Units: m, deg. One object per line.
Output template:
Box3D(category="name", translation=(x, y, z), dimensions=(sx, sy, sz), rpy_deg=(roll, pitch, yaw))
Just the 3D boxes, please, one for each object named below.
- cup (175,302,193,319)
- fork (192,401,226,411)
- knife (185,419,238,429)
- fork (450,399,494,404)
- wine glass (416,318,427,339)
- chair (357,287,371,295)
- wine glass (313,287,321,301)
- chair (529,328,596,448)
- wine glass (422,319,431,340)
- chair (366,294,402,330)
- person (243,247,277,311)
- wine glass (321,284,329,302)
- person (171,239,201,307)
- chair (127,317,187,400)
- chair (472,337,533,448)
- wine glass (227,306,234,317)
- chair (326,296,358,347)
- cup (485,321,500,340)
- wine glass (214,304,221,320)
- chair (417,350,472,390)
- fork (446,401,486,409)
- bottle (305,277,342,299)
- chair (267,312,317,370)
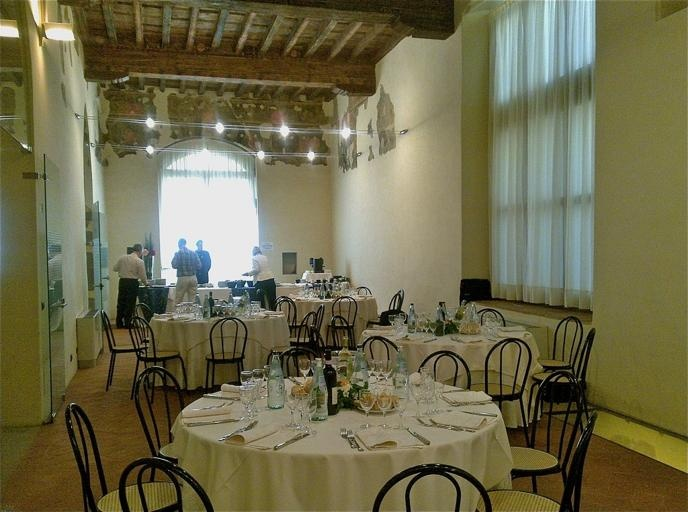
Box3D(category="cup", translation=(-2.056, 0.710, 7.114), dimensions=(0.182, 0.101, 0.253), rpy_deg=(1, 9, -2))
Box3D(category="fork", translation=(-0.957, 1.072, 3.938), dimensions=(0.191, 0.011, 0.067), rpy_deg=(-7, 13, -20))
Box3D(category="knife", translation=(-0.869, 1.110, 3.638), dimensions=(0.297, 0.027, 0.041), rpy_deg=(-1, 1, -17))
Box3D(category="fork", translation=(0.905, 1.050, 3.944), dimensions=(0.303, 0.026, 0.090), rpy_deg=(1, 5, -5))
Box3D(category="wine glass", translation=(0.848, 0.773, 6.096), dimensions=(0.139, 0.236, 0.124), rpy_deg=(-4, -2, 40))
Box3D(category="chair", translation=(0.393, 0.696, 11.345), dimensions=(0.228, 0.252, 0.165), rpy_deg=(-2, 4, -30))
Box3D(category="wine glass", translation=(-0.491, 0.662, 9.871), dimensions=(0.148, 0.217, 0.147), rpy_deg=(2, -10, -15))
Box3D(category="chair", translation=(2.175, 1.302, 5.586), dimensions=(0.551, 1.320, 0.537), rpy_deg=(3, 8, 13))
Box3D(category="wine glass", translation=(0.869, 0.803, 6.004), dimensions=(0.116, 0.206, 0.114), rpy_deg=(-5, 3, -2))
Box3D(category="chair", translation=(0.695, 0.897, 9.194), dimensions=(0.381, 0.829, 0.453), rpy_deg=(-7, 21, -38))
Box3D(category="person", translation=(-1.547, 0.430, 10.684), dimensions=(0.445, 1.234, 0.836), rpy_deg=(-1, 3, -19))
Box3D(category="wine glass", translation=(-0.346, 0.634, 9.746), dimensions=(0.189, 0.250, 0.204), rpy_deg=(0, -4, -4))
Box3D(category="person", translation=(-3.052, 0.295, 10.716), dimensions=(0.500, 1.266, 0.535), rpy_deg=(-1, 3, -16))
Box3D(category="chair", translation=(-2.314, 1.183, 6.826), dimensions=(0.433, 0.989, 0.532), rpy_deg=(0, 4, 33))
Box3D(category="chair", translation=(1.534, 1.246, 5.360), dimensions=(0.461, 0.976, 0.568), rpy_deg=(-1, 3, -7))
Box3D(category="wine glass", translation=(-1.474, 0.714, 7.139), dimensions=(0.092, 0.167, 0.095), rpy_deg=(-1, 0, 34))
Box3D(category="chair", translation=(-0.013, 1.076, 9.183), dimensions=(0.501, 0.971, 0.585), rpy_deg=(-4, 9, -19))
Box3D(category="cup", translation=(1.536, 0.785, 5.841), dimensions=(0.146, 0.300, 0.148), rpy_deg=(0, -6, 0))
Box3D(category="wine glass", translation=(-1.617, 0.728, 7.081), dimensions=(0.109, 0.138, 0.109), rpy_deg=(-2, 2, -39))
Box3D(category="chair", translation=(0.910, 1.020, 4.923), dimensions=(0.339, 0.526, 0.327), rpy_deg=(0, -12, 9))
Box3D(category="fork", translation=(0.860, 1.058, 3.939), dimensions=(0.261, 0.024, 0.085), rpy_deg=(1, 11, -9))
Box3D(category="bottle", translation=(-0.422, 0.596, 9.935), dimensions=(0.510, 0.214, 0.407), rpy_deg=(-3, -4, 37))
Box3D(category="chair", translation=(-0.553, 1.141, 7.324), dimensions=(0.467, 0.869, 0.494), rpy_deg=(-4, 11, 13))
